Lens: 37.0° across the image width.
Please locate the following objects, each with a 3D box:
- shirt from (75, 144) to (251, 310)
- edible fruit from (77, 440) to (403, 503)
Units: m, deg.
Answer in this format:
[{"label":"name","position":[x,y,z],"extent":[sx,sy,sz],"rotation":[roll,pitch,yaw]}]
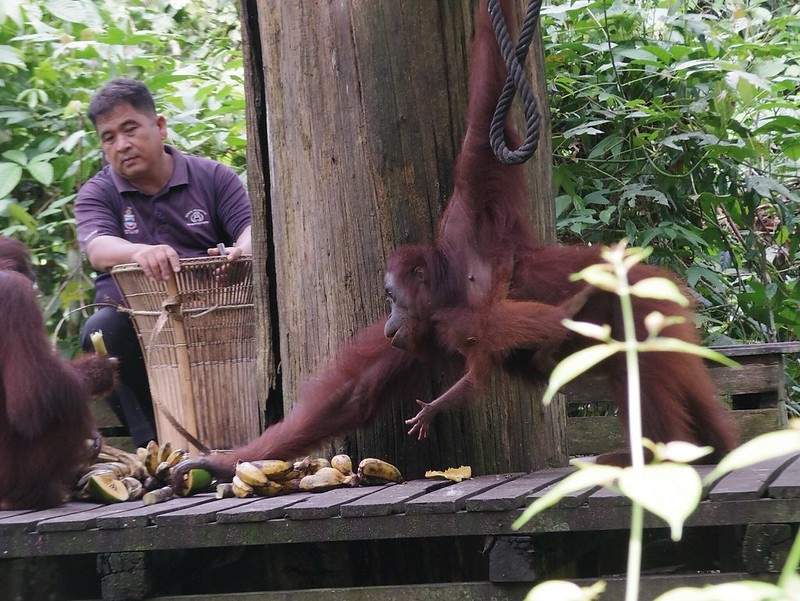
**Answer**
[{"label":"shirt","position":[-0.986,-0.333,5.171],"extent":[0.794,0.697,0.553],"rotation":[-8,-1,-14]},{"label":"edible fruit","position":[-0.559,0.579,3.852],"extent":[1.125,0.206,0.353],"rotation":[-3,-21,5]}]
